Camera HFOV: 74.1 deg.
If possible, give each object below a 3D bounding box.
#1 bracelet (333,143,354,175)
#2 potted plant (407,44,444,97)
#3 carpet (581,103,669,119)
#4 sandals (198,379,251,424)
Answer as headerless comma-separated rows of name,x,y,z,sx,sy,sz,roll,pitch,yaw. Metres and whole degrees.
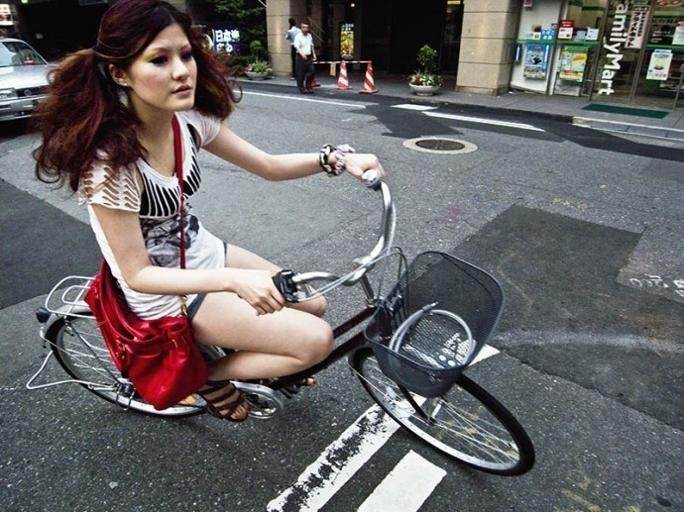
bracelet,-0.026,-0.542,2.612,0.182,0.144,0.084,1,-13,-3
potted plant,2.464,-5.950,14.528,1.140,1.420,1.060,25,36,6
carpet,7.280,-3.771,11.723,1.623,0.049,2.119,-20,32,-35
sandals,-0.656,0.819,2.559,0.426,0.143,0.128,21,69,19
